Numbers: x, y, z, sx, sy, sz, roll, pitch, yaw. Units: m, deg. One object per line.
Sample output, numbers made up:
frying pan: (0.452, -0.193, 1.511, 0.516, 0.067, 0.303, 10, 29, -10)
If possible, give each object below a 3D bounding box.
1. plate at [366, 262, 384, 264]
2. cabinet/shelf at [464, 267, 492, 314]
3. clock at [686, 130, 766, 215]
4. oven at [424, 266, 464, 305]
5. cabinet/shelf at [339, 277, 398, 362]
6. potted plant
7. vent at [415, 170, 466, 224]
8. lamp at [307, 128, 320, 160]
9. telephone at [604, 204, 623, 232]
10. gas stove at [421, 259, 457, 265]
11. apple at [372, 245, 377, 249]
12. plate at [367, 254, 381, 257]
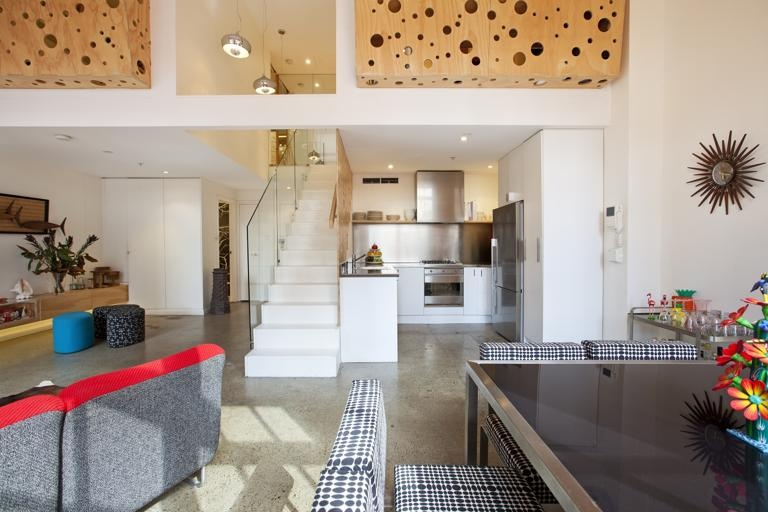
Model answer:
plate: (-0.146, 0.113, 7.546, 0.243, 0.057, 0.184, 1, -1, -12)
cabinet/shelf: (1.645, 0.619, 9.019, 0.484, 0.850, 0.122, 1, -1, -15)
clock: (3.729, -0.903, 5.515, 0.086, 1.045, 0.928, -1, 4, -22)
oven: (0.972, 0.524, 9.283, 0.878, 0.854, 0.638, 0, -5, 0)
cabinet/shelf: (-0.210, 0.823, 7.230, 1.074, 1.468, 1.007, 0, 3, 2)
potted plant: (-5.463, -0.026, 8.660, 0.709, 1.270, 1.306, 1, -1, 8)
vent: (1.034, -1.101, 9.436, 0.875, 0.923, 0.168, 1, -1, 2)
lamp: (-1.497, -2.288, 10.785, 0.084, 0.688, 0.350, 0, -1, 34)
telephone: (2.846, -0.458, 6.370, 0.087, 0.328, 0.334, 1, -1, -4)
gas stove: (1.008, 0.099, 9.427, 0.651, 0.108, 0.660, 1, -1, 4)
apple: (-0.145, -0.130, 7.752, 0.070, 0.070, 0.068, -1, 9, -9)
plate: (-0.165, -0.014, 7.648, 0.195, 0.046, 0.103, 0, -1, 15)
